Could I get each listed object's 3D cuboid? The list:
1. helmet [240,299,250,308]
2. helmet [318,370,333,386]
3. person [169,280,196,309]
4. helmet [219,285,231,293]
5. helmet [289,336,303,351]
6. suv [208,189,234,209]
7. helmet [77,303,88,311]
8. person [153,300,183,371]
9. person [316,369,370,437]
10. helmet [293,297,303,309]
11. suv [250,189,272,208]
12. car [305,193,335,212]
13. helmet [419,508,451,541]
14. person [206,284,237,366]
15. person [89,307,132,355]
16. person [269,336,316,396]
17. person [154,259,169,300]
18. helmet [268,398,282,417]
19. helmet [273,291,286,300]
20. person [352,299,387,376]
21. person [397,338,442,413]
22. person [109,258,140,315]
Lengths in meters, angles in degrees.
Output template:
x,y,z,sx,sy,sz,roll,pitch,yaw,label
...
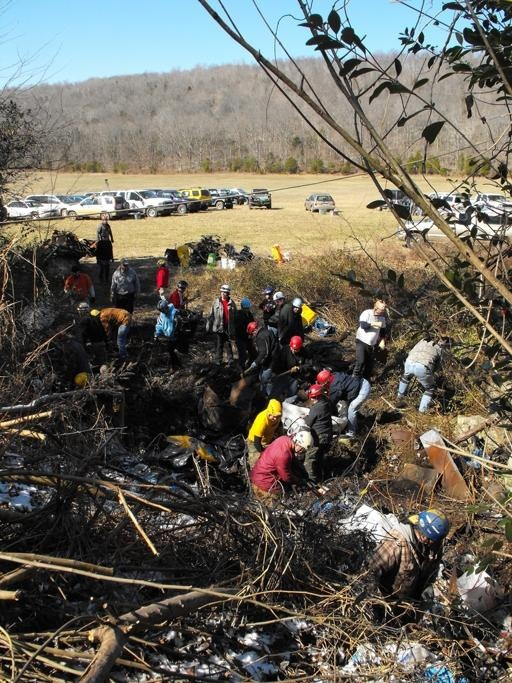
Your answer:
x,y,z,sx,sy,sz,roll,pitch,yaw,label
-0.162,-0.594,8.891,0.146,0.114,0.193,-2,10,-7,helmet
0.827,0.440,6.939,0.171,0.157,0.207,34,-20,-25,helmet
-1.428,-0.909,11.185,0.324,0.471,0.873,5,-23,-4,person
-0.479,-0.835,8.966,0.123,0.081,0.164,9,1,8,helmet
0.572,0.044,8.077,0.193,0.217,0.194,-8,12,-19,helmet
-1.908,-8.132,32.512,1.378,1.174,2.208,-9,14,-34,suv
-2.522,-0.526,8.333,0.106,0.100,0.124,11,27,-20,helmet
-1.309,-0.128,8.433,0.345,0.961,0.908,-6,11,-10,person
1.048,0.764,6.854,0.601,0.778,0.331,-11,40,32,person
0.654,-0.586,8.860,0.151,0.124,0.198,27,12,-11,helmet
0.220,-7.910,31.631,1.129,1.114,2.034,-4,11,-2,suv
3.386,-7.262,29.845,0.940,0.685,1.848,-2,22,-3,car
1.091,1.130,3.579,0.159,0.163,0.199,15,29,-4,helmet
-0.564,-0.308,9.367,0.473,1.265,1.129,-5,11,-4,person
-2.137,-0.162,8.712,1.056,0.662,0.359,-3,8,25,person
0.524,0.428,8.125,0.580,1.043,0.605,10,27,10,person
-1.871,-1.254,11.407,0.219,0.802,0.863,-6,11,-10,person
0.183,0.681,5.875,0.143,0.177,0.229,-4,11,1,helmet
0.390,-0.760,9.488,0.168,0.104,0.208,-16,2,24,helmet
1.623,0.032,8.005,0.479,1.334,1.488,-1,11,12,person
2.091,0.440,7.230,0.477,1.025,0.931,-3,11,7,person
-2.283,-0.864,9.949,0.506,1.183,0.326,-9,30,-16,person
